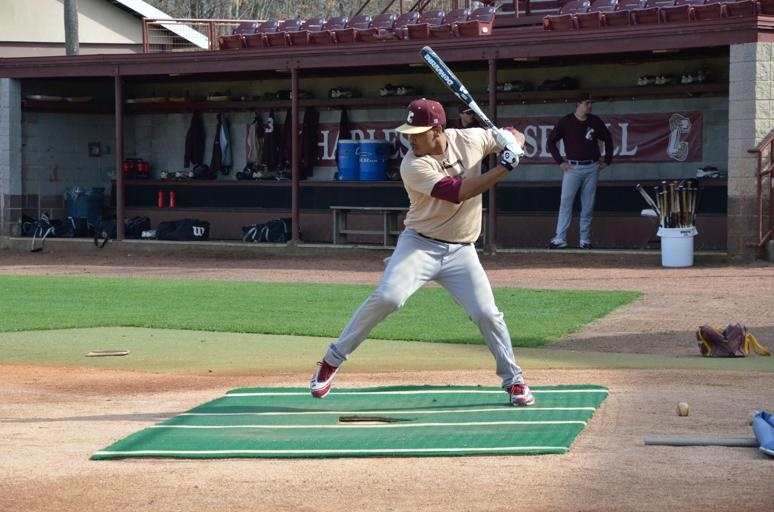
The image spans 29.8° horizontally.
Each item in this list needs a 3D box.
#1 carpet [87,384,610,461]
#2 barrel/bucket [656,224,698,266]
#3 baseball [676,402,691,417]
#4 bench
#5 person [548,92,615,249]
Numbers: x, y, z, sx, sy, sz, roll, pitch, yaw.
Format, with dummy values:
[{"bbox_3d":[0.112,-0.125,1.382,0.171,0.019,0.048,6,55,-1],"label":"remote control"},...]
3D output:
[{"bbox_3d":[-0.120,2.207,19.383,6.633,0.107,5.233,-2,5,3],"label":"carpet"},{"bbox_3d":[5.311,-0.159,26.584,0.906,0.681,0.737,-1,1,-1],"label":"barrel/bucket"},{"bbox_3d":[3.896,2.005,19.019,0.154,0.173,0.266,2,2,38],"label":"baseball"},{"bbox_3d":[0.496,-0.531,30.104,3.228,0.858,0.879,0,-2,9],"label":"bench"},{"bbox_3d":[3.775,-1.635,28.452,1.205,2.973,0.612,0,2,4],"label":"person"}]
